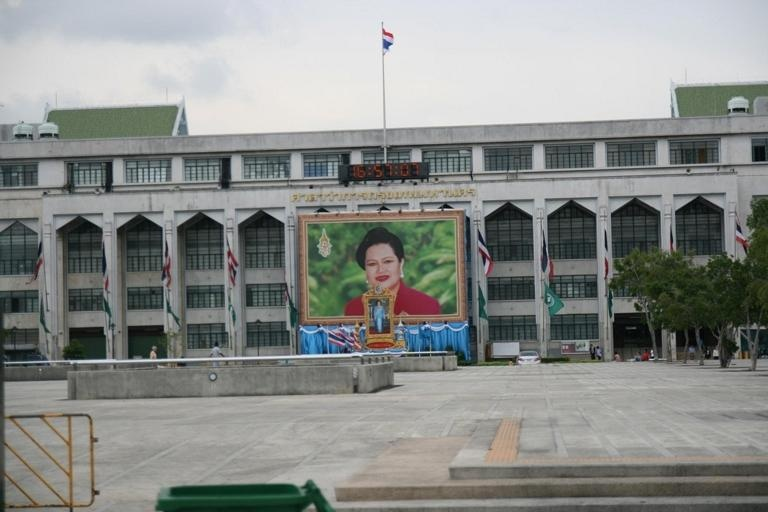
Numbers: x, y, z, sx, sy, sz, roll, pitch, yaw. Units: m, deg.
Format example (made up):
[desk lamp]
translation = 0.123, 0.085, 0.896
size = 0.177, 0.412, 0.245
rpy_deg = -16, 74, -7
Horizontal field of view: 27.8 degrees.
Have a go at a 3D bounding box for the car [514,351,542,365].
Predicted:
[car]
translation = 13.657, 9.686, 148.628
size = 2.192, 1.358, 4.824
rpy_deg = -3, -4, 4
